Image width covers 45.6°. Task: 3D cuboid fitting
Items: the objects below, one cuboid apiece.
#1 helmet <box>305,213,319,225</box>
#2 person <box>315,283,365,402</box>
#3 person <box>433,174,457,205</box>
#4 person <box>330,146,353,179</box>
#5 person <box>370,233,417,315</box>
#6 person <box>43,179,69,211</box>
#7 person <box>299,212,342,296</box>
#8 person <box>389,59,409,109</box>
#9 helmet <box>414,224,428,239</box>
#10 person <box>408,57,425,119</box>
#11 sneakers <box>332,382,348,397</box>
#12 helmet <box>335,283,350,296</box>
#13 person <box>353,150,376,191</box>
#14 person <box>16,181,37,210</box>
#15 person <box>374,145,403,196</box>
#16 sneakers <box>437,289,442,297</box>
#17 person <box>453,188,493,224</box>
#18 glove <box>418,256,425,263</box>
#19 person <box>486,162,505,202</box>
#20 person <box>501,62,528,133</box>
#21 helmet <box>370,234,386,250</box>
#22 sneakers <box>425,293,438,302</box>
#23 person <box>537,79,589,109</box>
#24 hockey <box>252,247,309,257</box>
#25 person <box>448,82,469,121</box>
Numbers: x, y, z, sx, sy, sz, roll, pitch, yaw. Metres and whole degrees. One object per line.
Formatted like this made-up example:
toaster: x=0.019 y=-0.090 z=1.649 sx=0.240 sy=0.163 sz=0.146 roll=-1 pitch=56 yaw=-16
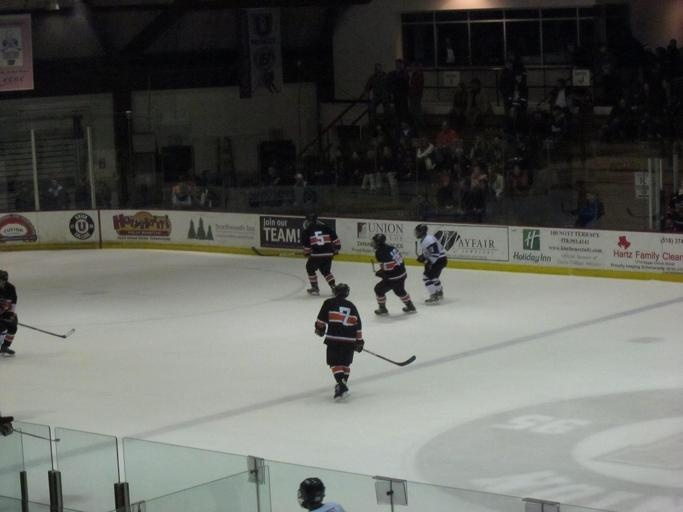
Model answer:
helmet: x=-0.619 y=-0.829 z=16.987 sx=0.210 sy=0.279 sz=0.287 roll=-2 pitch=-34 yaw=-4
person: x=-0.036 y=1.195 z=11.383 sx=0.618 sy=1.567 sz=0.334 roll=-3 pitch=12 yaw=-3
person: x=2.493 y=-1.590 z=19.407 sx=0.349 sy=0.788 sz=0.565 roll=-6 pitch=13 yaw=-15
person: x=0.076 y=-2.601 z=21.630 sx=0.535 sy=0.775 sz=0.519 roll=-8 pitch=6 yaw=-32
person: x=1.004 y=0.297 z=15.405 sx=0.792 sy=1.649 sz=0.976 roll=-2 pitch=12 yaw=3
person: x=-8.407 y=-1.857 z=23.853 sx=0.757 sy=0.865 sz=0.226 roll=-5 pitch=12 yaw=-13
person: x=-0.424 y=-0.065 z=17.110 sx=0.740 sy=1.733 sz=1.165 roll=-3 pitch=12 yaw=-2
person: x=1.508 y=-4.467 z=21.294 sx=0.472 sy=1.362 sz=0.559 roll=-1 pitch=12 yaw=8
helmet: x=1.527 y=-0.496 z=15.911 sx=0.229 sy=0.281 sz=0.261 roll=11 pitch=0 yaw=-44
person: x=2.007 y=-4.496 z=21.941 sx=0.348 sy=1.495 sz=0.743 roll=-1 pitch=12 yaw=5
sneakers: x=0.000 y=1.872 z=11.402 sx=0.254 sy=0.273 sz=0.113 roll=-3 pitch=9 yaw=19
helmet: x=0.009 y=0.484 z=11.403 sx=0.195 sy=0.140 sz=0.167 roll=-10 pitch=18 yaw=-40
person: x=0.672 y=-2.175 z=21.182 sx=0.522 sy=0.782 sz=0.417 roll=1 pitch=13 yaw=16
person: x=-9.288 y=-1.758 z=23.738 sx=0.552 sy=0.853 sz=0.212 roll=5 pitch=11 yaw=1
person: x=1.253 y=-2.191 z=20.942 sx=0.688 sy=1.195 sz=0.621 roll=3 pitch=13 yaw=22
sneakers: x=1.980 y=0.732 z=16.249 sx=0.067 sy=0.125 sz=0.119 roll=-1 pitch=-4 yaw=8
person: x=3.063 y=-1.208 z=19.045 sx=0.750 sy=0.788 sz=0.193 roll=1 pitch=-2 yaw=25
glove: x=1.577 y=0.034 z=15.985 sx=0.131 sy=0.144 sz=0.295 roll=-1 pitch=13 yaw=6
person: x=3.638 y=-1.744 z=19.040 sx=0.385 sy=0.826 sz=0.218 roll=0 pitch=12 yaw=9
person: x=4.469 y=-4.210 z=21.094 sx=0.673 sy=1.826 sz=0.542 roll=0 pitch=12 yaw=10
helmet: x=0.675 y=-0.278 z=14.979 sx=0.286 sy=0.294 sz=0.243 roll=7 pitch=12 yaw=44
sneakers: x=1.780 y=0.819 z=16.209 sx=0.272 sy=0.138 sz=0.113 roll=-2 pitch=13 yaw=16
person: x=5.848 y=-4.185 z=21.103 sx=1.160 sy=0.413 sz=1.223 roll=2 pitch=16 yaw=14
hockey: x=-1.682 y=-0.141 z=21.232 sx=1.389 sy=0.217 sz=0.141 roll=5 pitch=4 yaw=23
person: x=3.236 y=-4.100 z=22.037 sx=0.524 sy=1.040 sz=0.418 roll=5 pitch=-2 yaw=25
